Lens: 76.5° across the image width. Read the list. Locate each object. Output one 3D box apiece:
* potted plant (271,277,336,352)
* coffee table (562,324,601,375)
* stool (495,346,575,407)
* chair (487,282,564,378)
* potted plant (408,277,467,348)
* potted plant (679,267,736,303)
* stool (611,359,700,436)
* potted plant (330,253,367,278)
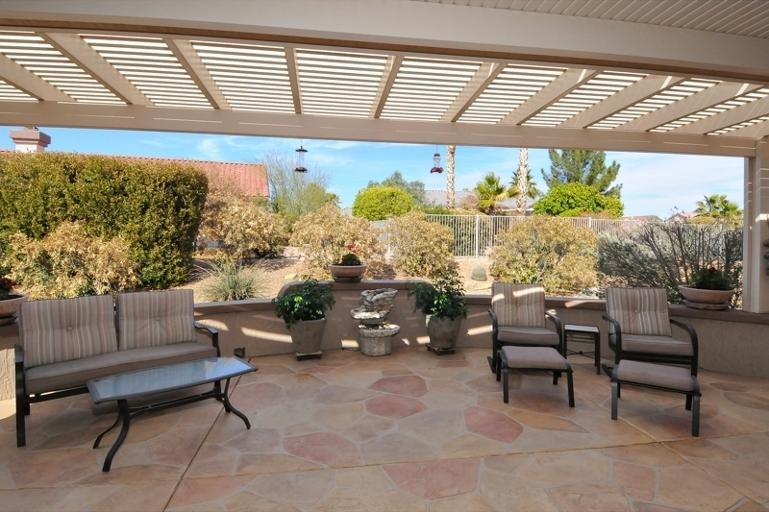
[{"bbox_3d":[-1.314,1.026,7.983,0.956,1.288,0.416,1,-5,-13],"label":"potted plant"},{"bbox_3d":[3.254,1.516,8.056,0.716,0.552,0.730,2,-8,41],"label":"coffee table"},{"bbox_3d":[2.045,1.472,6.764,1.129,0.485,0.801,0,-1,17],"label":"stool"},{"bbox_3d":[2.123,1.068,7.597,1.120,1.123,1.200,1,5,-4],"label":"chair"},{"bbox_3d":[0.968,0.990,8.396,0.865,1.344,0.460,-1,-5,6],"label":"potted plant"},{"bbox_3d":[5.393,0.468,8.141,0.698,0.416,0.595,0,1,13],"label":"potted plant"},{"bbox_3d":[3.530,1.791,6.358,0.986,0.825,0.992,-3,-5,28],"label":"stool"},{"bbox_3d":[-0.656,0.174,8.962,0.569,0.337,0.497,0,4,-12],"label":"potted plant"}]
